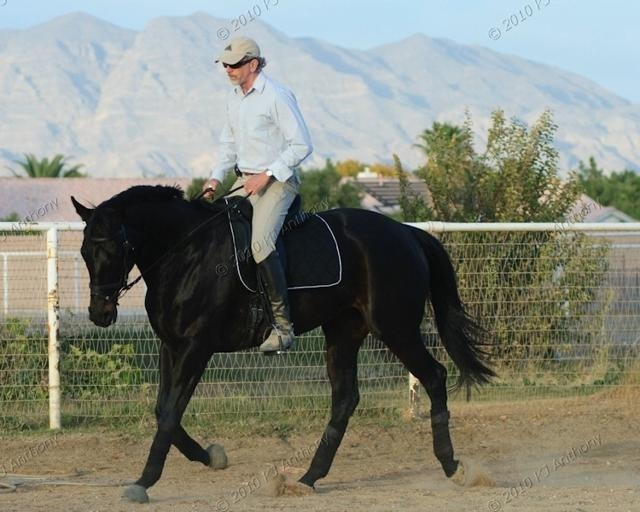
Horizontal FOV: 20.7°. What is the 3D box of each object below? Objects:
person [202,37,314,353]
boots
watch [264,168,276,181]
[{"bbox_3d":[-0.741,-0.757,21.772,1.227,3.844,0.630,3,3,29],"label":"person"},{"bbox_3d":[-0.525,0.574,21.537,0.471,1.271,0.252,1,3,-4],"label":"boots"},{"bbox_3d":[-0.614,-1.005,21.563,0.075,0.062,0.126,16,-37,23],"label":"watch"}]
